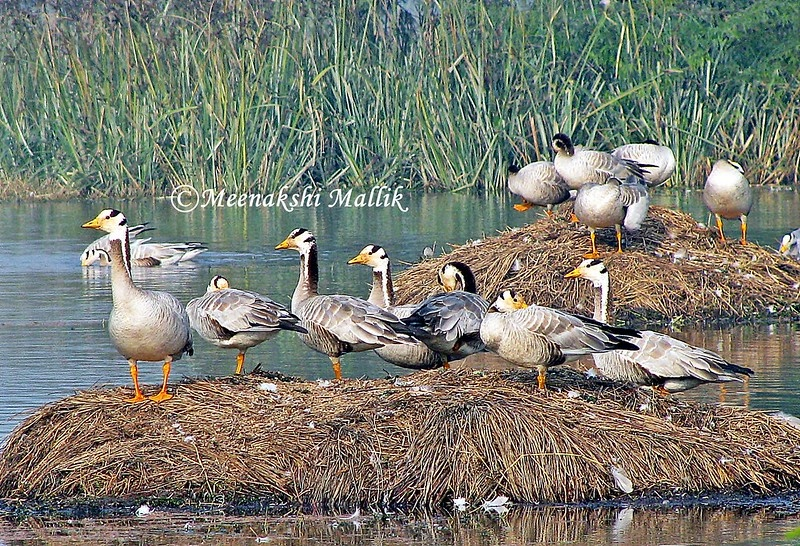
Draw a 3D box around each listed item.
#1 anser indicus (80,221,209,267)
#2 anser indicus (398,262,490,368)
[{"bbox_3d":[-5.373,-0.710,28.861,2.084,0.848,0.592,4,20,38],"label":"anser indicus"},{"bbox_3d":[0.571,0.553,16.551,0.857,1.129,1.542,1,1,20],"label":"anser indicus"}]
